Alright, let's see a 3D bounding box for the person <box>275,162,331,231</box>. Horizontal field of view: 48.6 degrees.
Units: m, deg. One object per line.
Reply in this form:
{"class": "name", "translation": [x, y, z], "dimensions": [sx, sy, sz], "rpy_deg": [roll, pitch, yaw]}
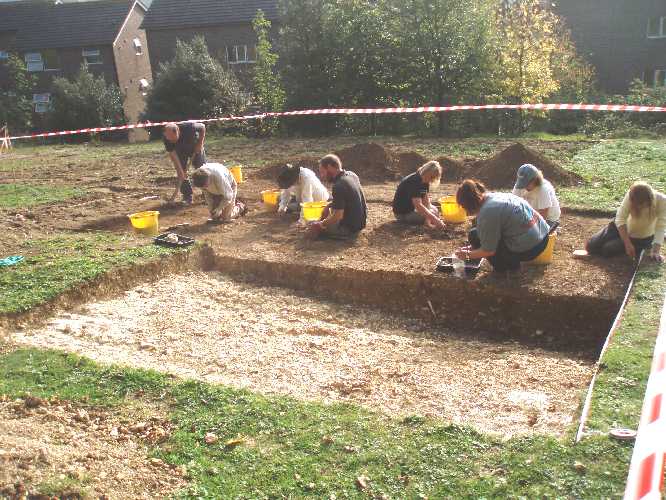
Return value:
{"class": "person", "translation": [-0.474, -0.935, 11.414], "dimensions": [0.692, 0.684, 0.637], "rpy_deg": [-8, 8, -19]}

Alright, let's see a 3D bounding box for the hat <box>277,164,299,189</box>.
{"class": "hat", "translation": [-0.654, -1.128, 11.183], "dimensions": [0.295, 0.374, 0.347], "rpy_deg": [-11, 15, -42]}

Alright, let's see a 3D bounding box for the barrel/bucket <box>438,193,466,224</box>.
{"class": "barrel/bucket", "translation": [1.844, -0.666, 11.405], "dimensions": [0.422, 0.289, 0.405], "rpy_deg": [-6, 22, 2]}

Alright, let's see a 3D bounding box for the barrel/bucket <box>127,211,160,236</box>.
{"class": "barrel/bucket", "translation": [-2.818, -0.425, 11.085], "dimensions": [0.414, 0.295, 0.418], "rpy_deg": [-1, 14, 0]}

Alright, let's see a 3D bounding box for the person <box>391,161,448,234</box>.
{"class": "person", "translation": [1.293, -0.830, 11.031], "dimensions": [0.432, 1.010, 0.787], "rpy_deg": [-8, 13, -30]}

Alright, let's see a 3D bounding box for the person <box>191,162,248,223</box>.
{"class": "person", "translation": [-1.789, -0.779, 11.849], "dimensions": [0.635, 1.083, 0.945], "rpy_deg": [-1, 1, 32]}

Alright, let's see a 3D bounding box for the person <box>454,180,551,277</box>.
{"class": "person", "translation": [2.139, -0.278, 9.275], "dimensions": [1.283, 1.262, 0.995], "rpy_deg": [5, 46, 28]}

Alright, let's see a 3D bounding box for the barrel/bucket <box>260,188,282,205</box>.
{"class": "barrel/bucket", "translation": [-1.037, -0.905, 12.583], "dimensions": [0.341, 0.228, 0.328], "rpy_deg": [0, 13, 0]}

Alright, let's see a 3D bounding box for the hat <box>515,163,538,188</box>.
{"class": "hat", "translation": [2.708, -1.067, 10.099], "dimensions": [0.244, 0.210, 0.371], "rpy_deg": [13, 50, 48]}

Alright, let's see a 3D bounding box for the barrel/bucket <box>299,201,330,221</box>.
{"class": "barrel/bucket", "translation": [-0.289, -0.607, 11.098], "dimensions": [0.330, 0.192, 0.310], "rpy_deg": [-3, 20, 1]}

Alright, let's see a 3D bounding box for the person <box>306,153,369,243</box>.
{"class": "person", "translation": [0.085, -0.829, 10.982], "dimensions": [0.857, 1.150, 0.993], "rpy_deg": [-2, 24, 9]}

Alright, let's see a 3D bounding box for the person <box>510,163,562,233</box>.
{"class": "person", "translation": [2.758, -0.689, 10.189], "dimensions": [0.731, 0.899, 0.614], "rpy_deg": [-14, 9, 14]}

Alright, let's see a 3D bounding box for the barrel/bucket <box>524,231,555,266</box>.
{"class": "barrel/bucket", "translation": [2.738, -0.060, 9.794], "dimensions": [0.381, 0.302, 0.397], "rpy_deg": [-6, 30, 3]}
